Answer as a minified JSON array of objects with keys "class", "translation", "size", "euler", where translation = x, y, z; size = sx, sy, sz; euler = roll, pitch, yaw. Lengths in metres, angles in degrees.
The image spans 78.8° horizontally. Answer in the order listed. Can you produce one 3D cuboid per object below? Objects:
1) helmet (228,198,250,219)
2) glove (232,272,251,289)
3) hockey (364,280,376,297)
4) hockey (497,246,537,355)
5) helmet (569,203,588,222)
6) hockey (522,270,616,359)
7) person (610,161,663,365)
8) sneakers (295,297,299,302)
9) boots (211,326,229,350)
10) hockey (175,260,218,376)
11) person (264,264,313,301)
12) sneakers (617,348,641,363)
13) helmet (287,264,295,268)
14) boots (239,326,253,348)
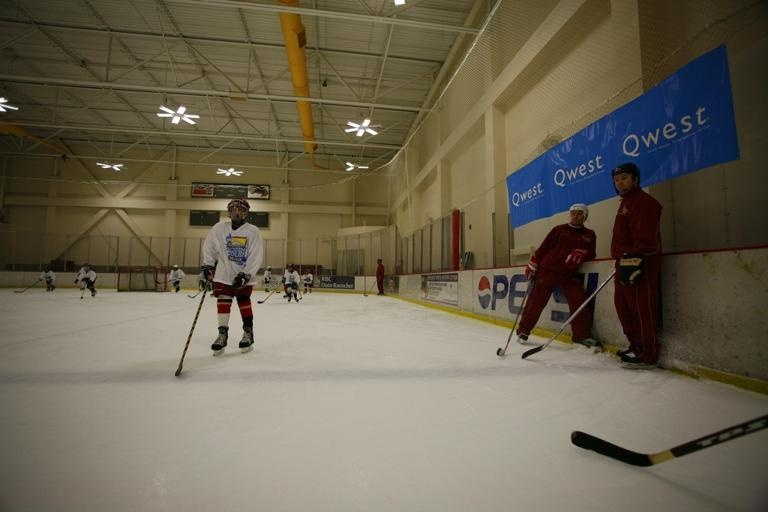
[{"class":"helmet","translation":[-1.790,-0.615,5.727],"size":[0.234,0.151,0.292],"euler":[12,-33,-29]},{"class":"glove","translation":[-1.701,0.285,5.589],"size":[0.097,0.186,0.210],"euler":[0,-5,43]},{"class":"hockey","translation":[-0.541,1.148,17.950],"size":[0.304,0.579,0.718],"euler":[6,-5,-34]},{"class":"hockey","translation":[1.920,0.685,6.704],"size":[0.113,1.387,0.194],"euler":[29,-24,-26]},{"class":"helmet","translation":[2.484,-0.564,6.002],"size":[0.197,0.243,0.260],"euler":[-5,-28,31]},{"class":"hockey","translation":[2.339,0.716,5.817],"size":[0.128,1.184,0.202],"euler":[30,24,-21]},{"class":"person","translation":[2.768,0.069,5.132],"size":[0.484,2.244,0.275],"euler":[1,-4,26]},{"class":"sneakers","translation":[-2.245,1.137,12.035],"size":[0.100,0.102,0.185],"euler":[-2,-6,-13]},{"class":"boots","translation":[-1.888,0.953,5.377],"size":[0.108,0.270,0.218],"euler":[4,-4,-4]},{"class":"hockey","translation":[-3.274,0.984,8.082],"size":[0.253,1.821,0.091],"euler":[-24,-57,30]},{"class":"person","translation":[-2.660,0.727,12.786],"size":[0.968,1.115,1.505],"euler":[3,-7,8]},{"class":"sneakers","translation":[2.663,1.083,5.087],"size":[0.175,0.142,0.197],"euler":[3,-4,1]},{"class":"helmet","translation":[-3.069,0.307,15.390],"size":[0.168,0.128,0.164],"euler":[5,-20,-29]},{"class":"boots","translation":[-1.649,0.977,5.570],"size":[0.157,0.252,0.281],"euler":[5,-4,-20]}]
